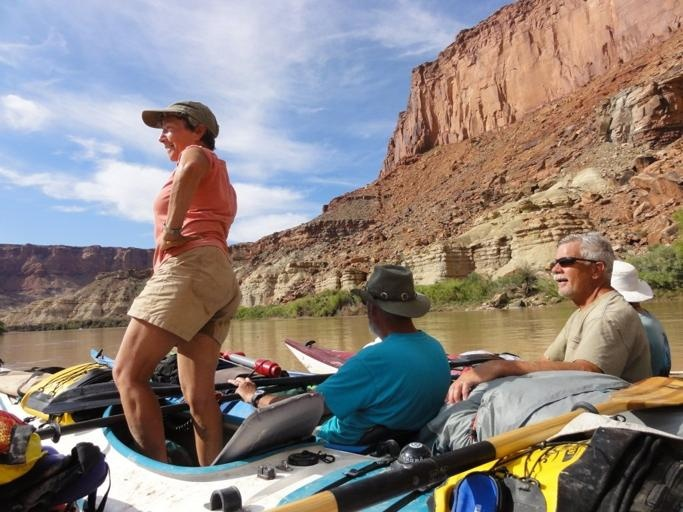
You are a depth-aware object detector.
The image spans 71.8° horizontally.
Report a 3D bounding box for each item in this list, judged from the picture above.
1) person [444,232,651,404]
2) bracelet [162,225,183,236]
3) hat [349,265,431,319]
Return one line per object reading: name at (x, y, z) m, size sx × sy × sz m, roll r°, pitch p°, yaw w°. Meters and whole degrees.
person at (1.277, 0.460, 3.131) m, size 1.512 × 1.022 × 0.895 m, roll -2°, pitch 8°, yaw 5°
bracelet at (-0.874, -0.133, 2.439) m, size 0.078 × 0.047 × 0.030 m, roll 1°, pitch -8°, yaw -23°
hat at (0.283, 0.157, 2.724) m, size 0.489 × 0.155 × 0.409 m, roll 19°, pitch 20°, yaw 37°
